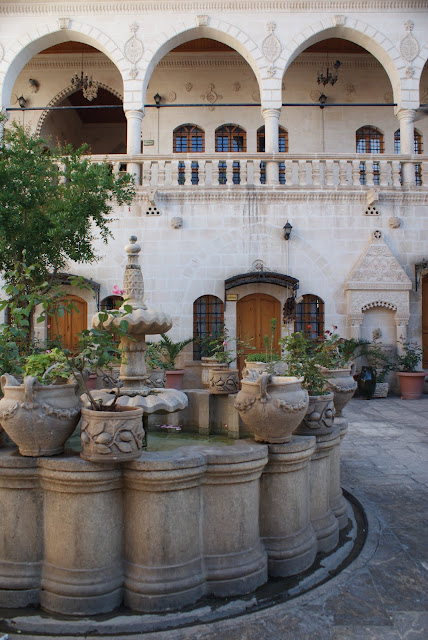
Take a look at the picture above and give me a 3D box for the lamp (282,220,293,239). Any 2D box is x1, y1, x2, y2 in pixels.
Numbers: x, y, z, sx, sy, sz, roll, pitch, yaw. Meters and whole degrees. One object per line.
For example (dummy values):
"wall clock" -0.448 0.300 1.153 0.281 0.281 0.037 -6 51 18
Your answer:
"lamp" 1.483 -1.813 18.479 0.188 0.391 0.417 0 0 4

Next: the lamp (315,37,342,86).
"lamp" 2.794 -6.303 22.614 0.583 1.019 0.760 0 -1 7

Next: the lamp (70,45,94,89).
"lamp" -3.153 -6.185 22.599 0.520 1.256 1.882 0 0 -7

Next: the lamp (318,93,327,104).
"lamp" 2.678 -5.431 22.646 0.252 0.128 0.348 4 -19 0

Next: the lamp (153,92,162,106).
"lamp" -1.324 -5.479 22.687 0.182 0.323 0.348 0 0 0

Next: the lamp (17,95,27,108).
"lamp" -4.720 -5.562 23.274 0.260 0.368 0.658 0 0 -12
